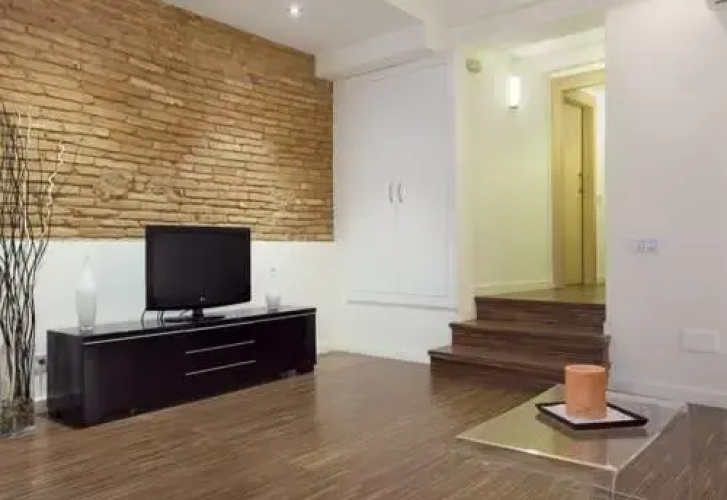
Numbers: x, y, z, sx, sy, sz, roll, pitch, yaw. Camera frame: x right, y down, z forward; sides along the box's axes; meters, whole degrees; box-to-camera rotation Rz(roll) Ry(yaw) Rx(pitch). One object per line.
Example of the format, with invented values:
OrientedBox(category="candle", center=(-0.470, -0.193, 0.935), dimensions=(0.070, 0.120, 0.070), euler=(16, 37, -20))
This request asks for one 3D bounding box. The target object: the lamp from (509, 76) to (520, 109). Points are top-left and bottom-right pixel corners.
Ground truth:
OrientedBox(category="lamp", center=(1.823, -1.887, 5.955), dimensions=(0.159, 0.374, 0.077), euler=(-4, 7, -33))

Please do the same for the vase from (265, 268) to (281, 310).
OrientedBox(category="vase", center=(-0.948, 0.391, 5.126), dimensions=(0.145, 0.377, 0.587), euler=(-2, 5, -11))

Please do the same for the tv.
OrientedBox(category="tv", center=(-1.538, 0.207, 4.501), dimensions=(0.956, 0.778, 0.214), euler=(0, 2, -41))
